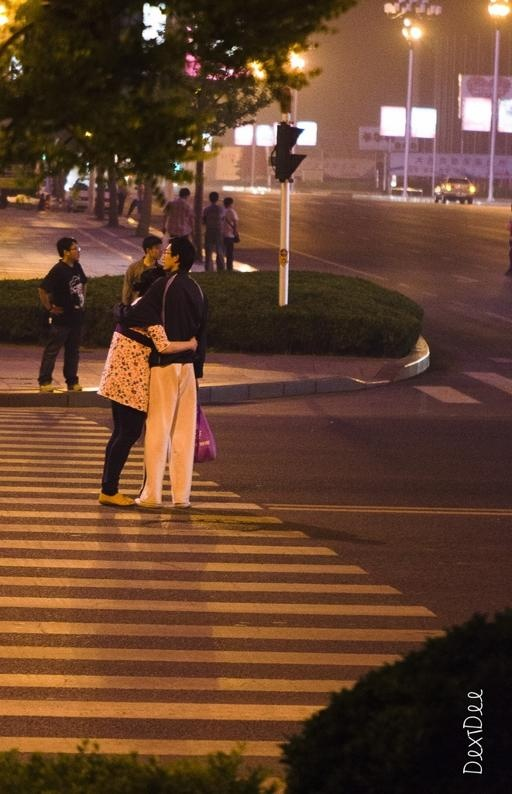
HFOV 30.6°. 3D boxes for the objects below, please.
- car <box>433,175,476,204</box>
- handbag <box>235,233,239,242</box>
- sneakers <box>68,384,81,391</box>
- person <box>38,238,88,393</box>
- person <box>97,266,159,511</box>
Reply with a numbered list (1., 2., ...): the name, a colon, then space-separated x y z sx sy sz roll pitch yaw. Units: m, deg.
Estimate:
1. car: 14.919 -15.903 71.805 2.214 1.745 3.676 0 14 -6
2. handbag: -0.533 -4.187 24.699 0.077 0.149 0.203 4 7 7
3. sneakers: -2.368 -0.121 12.233 0.083 0.070 0.166 -1 0 -33
4. person: -2.529 -1.076 12.202 0.568 1.973 0.687 2 7 -11
5. person: -0.895 -0.022 6.813 0.489 1.678 0.382 2 7 -10
